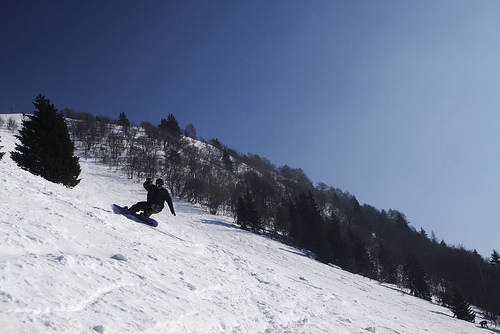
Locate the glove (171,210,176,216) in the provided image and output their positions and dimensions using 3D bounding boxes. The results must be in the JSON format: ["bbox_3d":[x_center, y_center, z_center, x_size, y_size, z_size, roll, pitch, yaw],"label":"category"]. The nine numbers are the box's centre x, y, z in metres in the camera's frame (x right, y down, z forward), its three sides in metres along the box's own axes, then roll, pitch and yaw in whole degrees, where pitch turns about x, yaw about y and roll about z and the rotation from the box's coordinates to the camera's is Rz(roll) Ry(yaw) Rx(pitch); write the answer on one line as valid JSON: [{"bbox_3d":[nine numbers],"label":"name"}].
[{"bbox_3d":[-7.432,4.574,41.005,0.175,0.640,0.585,-3,-5,-44],"label":"glove"}]
